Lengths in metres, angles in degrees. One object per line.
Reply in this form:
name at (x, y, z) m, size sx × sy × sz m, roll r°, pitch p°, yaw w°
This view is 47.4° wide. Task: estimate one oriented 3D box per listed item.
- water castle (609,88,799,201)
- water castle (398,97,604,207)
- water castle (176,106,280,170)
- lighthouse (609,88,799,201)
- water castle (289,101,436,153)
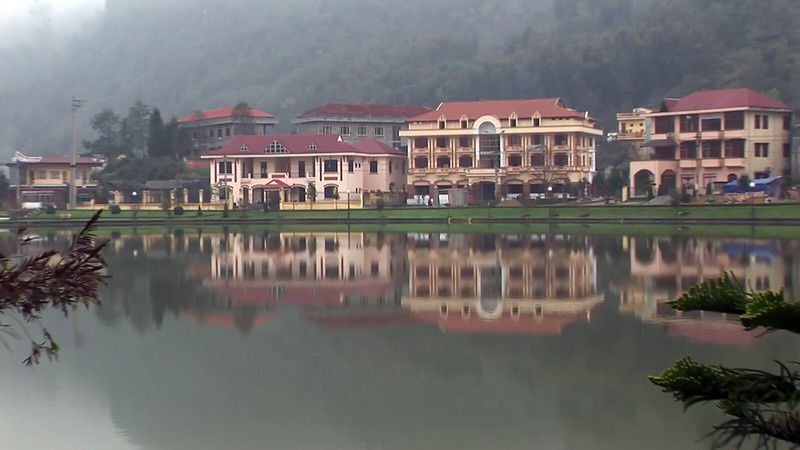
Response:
water castle at (39.399, -10.309, 111.681) m, size 21.226 × 13.560 × 13.465 m, roll -2°, pitch -3°, yaw 38°
water castle at (13.015, -9.476, 121.296) m, size 23.163 × 12.788 × 6.415 m, roll 0°, pitch 9°, yaw 15°
water castle at (-30.312, -16.916, 162.295) m, size 19.531 × 8.804 × 12.814 m, roll -1°, pitch 0°, yaw 35°
lighthouse at (37.198, -9.661, 108.274) m, size 16.875 × 12.235 × 6.087 m, roll 1°, pitch 9°, yaw 19°
water castle at (-4.735, -16.400, 152.363) m, size 19.691 × 6.837 × 11.183 m, roll 2°, pitch 13°, yaw 18°
